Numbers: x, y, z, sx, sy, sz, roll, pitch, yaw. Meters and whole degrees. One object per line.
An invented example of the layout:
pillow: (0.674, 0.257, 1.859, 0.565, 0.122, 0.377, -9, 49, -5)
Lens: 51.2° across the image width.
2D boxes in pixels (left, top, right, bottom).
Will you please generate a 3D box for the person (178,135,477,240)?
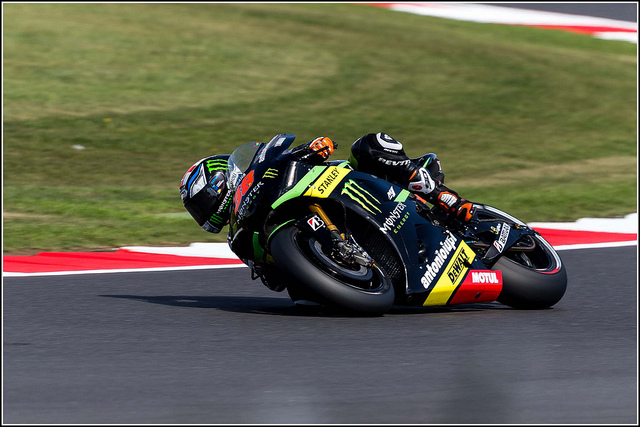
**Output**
person: (0.216, -0.300, 6.392, 2.858, 0.702, 1.149, 0, 12, -19)

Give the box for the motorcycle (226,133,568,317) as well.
motorcycle: (0.691, 0.178, 5.788, 2.778, 1.490, 1.265, 0, 30, -12)
